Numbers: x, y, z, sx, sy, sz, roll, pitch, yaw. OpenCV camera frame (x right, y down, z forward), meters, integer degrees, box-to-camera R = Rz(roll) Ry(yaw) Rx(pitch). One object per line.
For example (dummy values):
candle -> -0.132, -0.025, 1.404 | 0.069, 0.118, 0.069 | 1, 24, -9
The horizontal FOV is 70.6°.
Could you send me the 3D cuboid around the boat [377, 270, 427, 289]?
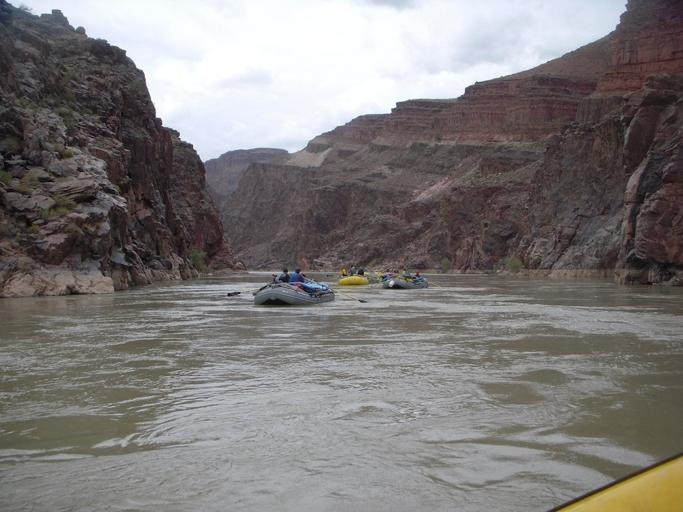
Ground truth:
boat -> 7.114, 2.678, 50.837 | 2.553, 1.027, 3.882 | -3, -11, 30
